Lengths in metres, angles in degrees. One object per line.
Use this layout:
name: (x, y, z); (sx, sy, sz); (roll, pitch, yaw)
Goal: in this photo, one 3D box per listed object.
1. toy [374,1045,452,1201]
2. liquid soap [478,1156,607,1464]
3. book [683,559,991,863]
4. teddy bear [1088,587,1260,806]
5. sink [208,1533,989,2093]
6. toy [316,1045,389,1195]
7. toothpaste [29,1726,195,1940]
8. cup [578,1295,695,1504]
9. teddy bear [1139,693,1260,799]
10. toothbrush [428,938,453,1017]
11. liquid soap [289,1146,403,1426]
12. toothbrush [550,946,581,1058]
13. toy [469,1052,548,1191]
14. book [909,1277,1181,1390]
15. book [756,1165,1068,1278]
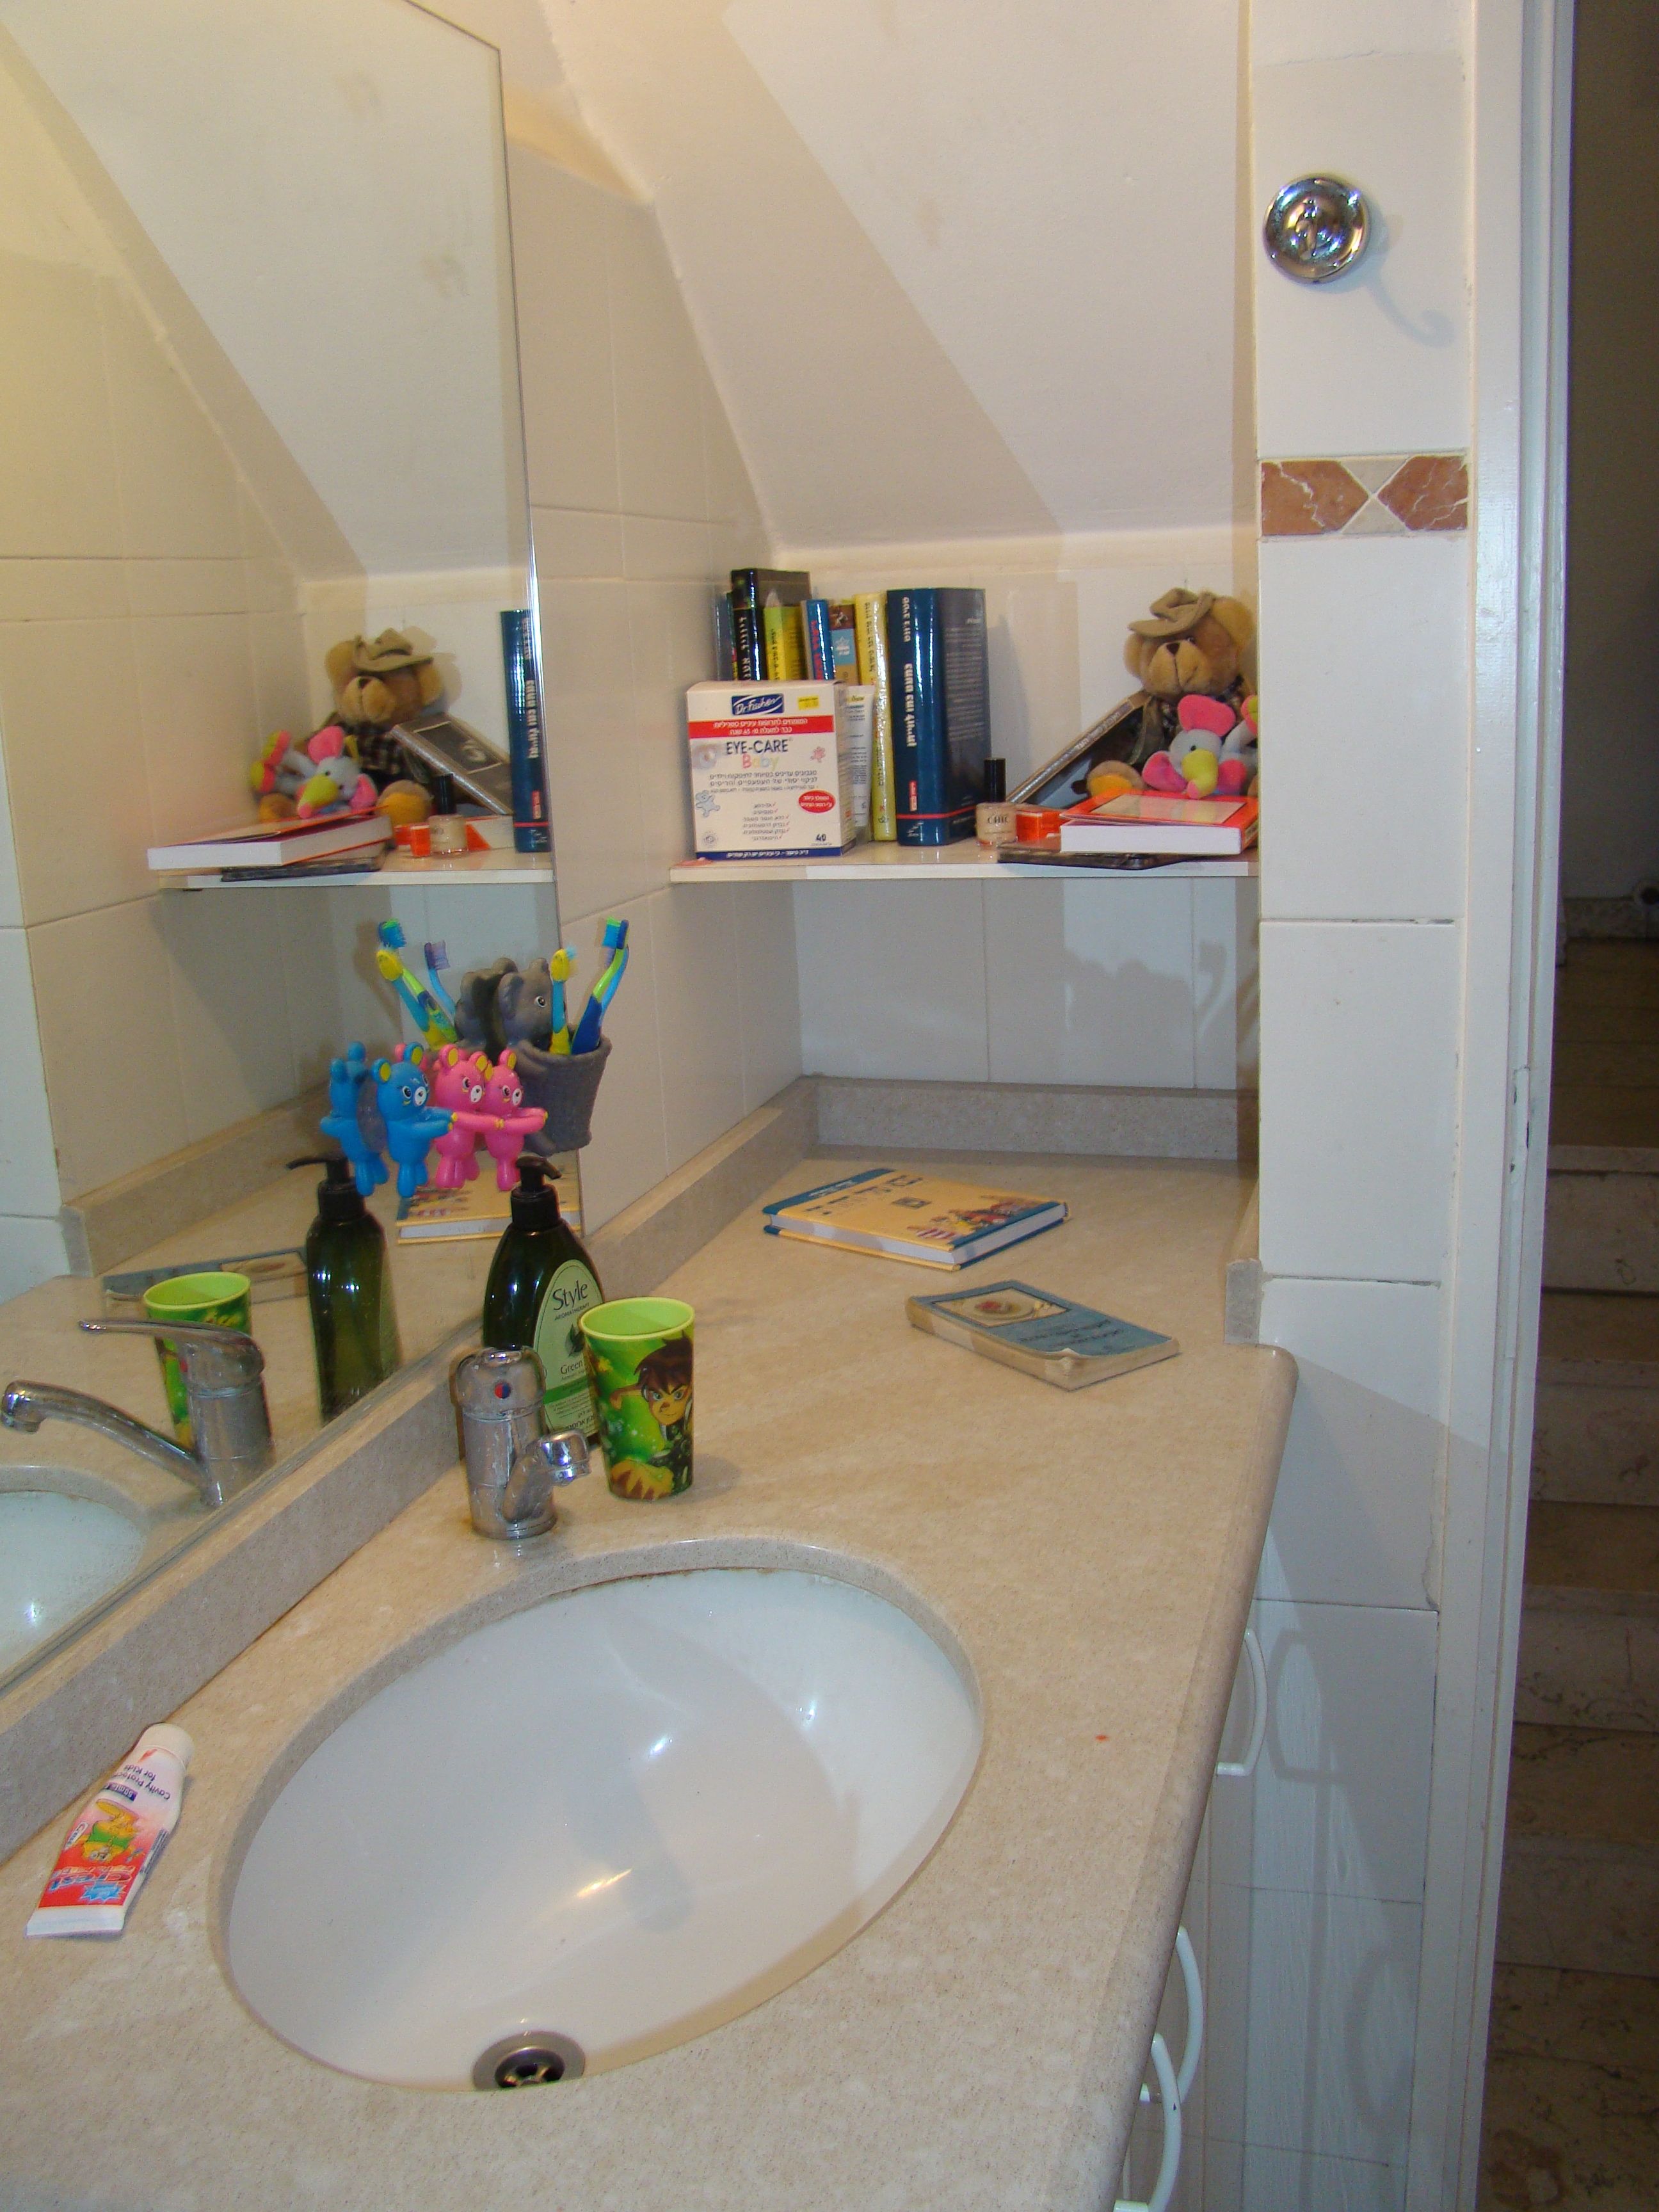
toy: (-0.267, 0.013, 1.096); (0.054, 0.099, 0.046); (-3, 24, -10)
liquid soap: (-0.193, 0.138, 1.130); (0.049, 0.199, 0.095); (-2, 5, 20)
book: (0.020, -0.375, 1.630); (0.329, 0.247, 0.174); (-4, 12, -12)
teddy bear: (0.323, -0.386, 1.568); (0.140, 0.196, 0.136); (0, 24, 24)
sink: (-0.150, 0.370, 0.968); (0.429, 0.172, 0.381); (4, 16, 25)
toy: (-0.292, 0.005, 1.014); (0.026, 0.093, 0.067); (-1, 18, 11)
toothpaste: (-0.311, 0.318, 0.734); (0.039, 0.020, 0.128); (-3, 12, -3)
cup: (-0.116, 0.181, 1.064); (0.069, 0.120, 0.081); (-3, 7, -5)
teddy bear: (0.336, -0.327, 1.507); (0.112, 0.120, 0.073); (-8, -18, 42)
toothbrush: (-0.261, -0.087, 1.113); (0.014, 0.057, 0.008); (-4, 36, -10)
liquid soap: (-0.291, 0.113, 1.027); (0.030, 0.133, 0.065); (6, 19, 15)
toothbrush: (-0.198, -0.074, 1.234); (0.017, 0.093, 0.016); (1, 8, -2)
toy: (-0.223, 0.014, 1.185); (0.050, 0.101, 0.049); (-13, 22, -33)
book: (0.164, 0.173, 1.316); (0.126, 0.023, 0.212); (-10, 14, -32)
book: (0.079, 0.077, 1.588); (0.277, 0.065, 0.198); (5, 23, 23)
